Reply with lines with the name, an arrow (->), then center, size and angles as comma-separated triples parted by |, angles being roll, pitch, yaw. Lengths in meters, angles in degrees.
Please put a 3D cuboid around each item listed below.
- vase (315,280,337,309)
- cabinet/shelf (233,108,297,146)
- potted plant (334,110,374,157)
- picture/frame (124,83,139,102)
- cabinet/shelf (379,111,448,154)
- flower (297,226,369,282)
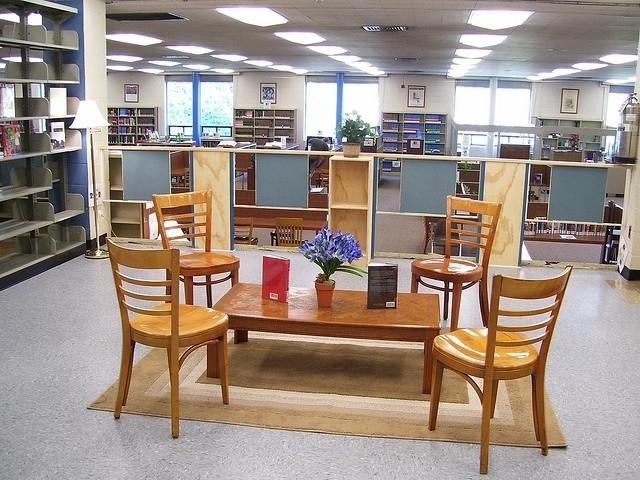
vase -> 0.031, 0.372, 3.388 | 0.177, 0.177, 0.169 | 0, 1, 0
cabinet/shelf -> -2.269, -4.554, 19.954 | 2.554, 1.364, 0.409 | 2, 14, 9
potted plant -> 0.403, -1.170, 5.526 | 0.400, 0.495, 0.363 | 3, 13, 10
picture/frame -> -7.890, -6.198, 20.685 | 0.793, 0.860, 0.088 | 2, 12, 0
cabinet/shelf -> 3.627, -4.142, 19.187 | 2.603, 1.496, 0.643 | 2, 13, 6
flower -> 0.075, 0.129, 3.490 | 0.443, 0.365, 0.434 | 10, 16, 37
